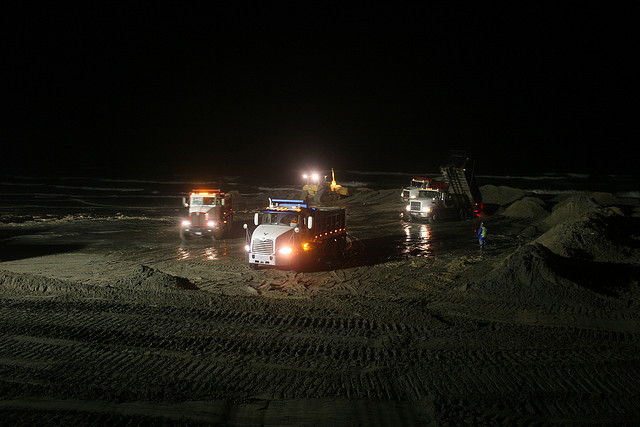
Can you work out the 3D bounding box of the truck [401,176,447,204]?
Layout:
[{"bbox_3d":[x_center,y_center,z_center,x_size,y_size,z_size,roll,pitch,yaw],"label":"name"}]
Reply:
[{"bbox_3d":[8.713,-2.019,35.904,4.564,1.805,1.959,-8,15,-34],"label":"truck"}]

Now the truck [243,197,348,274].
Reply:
[{"bbox_3d":[-0.893,0.875,20.645,2.391,2.341,5.260,-1,0,23],"label":"truck"}]

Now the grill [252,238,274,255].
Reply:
[{"bbox_3d":[-2.409,1.375,18.433,1.084,0.676,0.634,6,8,18],"label":"grill"}]

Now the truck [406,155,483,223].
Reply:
[{"bbox_3d":[10.548,-1.892,36.153,9.338,4.567,2.776,-5,18,-45],"label":"truck"}]

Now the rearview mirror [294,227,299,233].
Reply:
[{"bbox_3d":[-0.994,0.696,18.609,0.083,0.206,0.211,13,17,43],"label":"rearview mirror"}]

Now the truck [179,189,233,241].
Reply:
[{"bbox_3d":[-6.987,0.045,28.285,1.927,2.127,4.386,0,1,3],"label":"truck"}]
